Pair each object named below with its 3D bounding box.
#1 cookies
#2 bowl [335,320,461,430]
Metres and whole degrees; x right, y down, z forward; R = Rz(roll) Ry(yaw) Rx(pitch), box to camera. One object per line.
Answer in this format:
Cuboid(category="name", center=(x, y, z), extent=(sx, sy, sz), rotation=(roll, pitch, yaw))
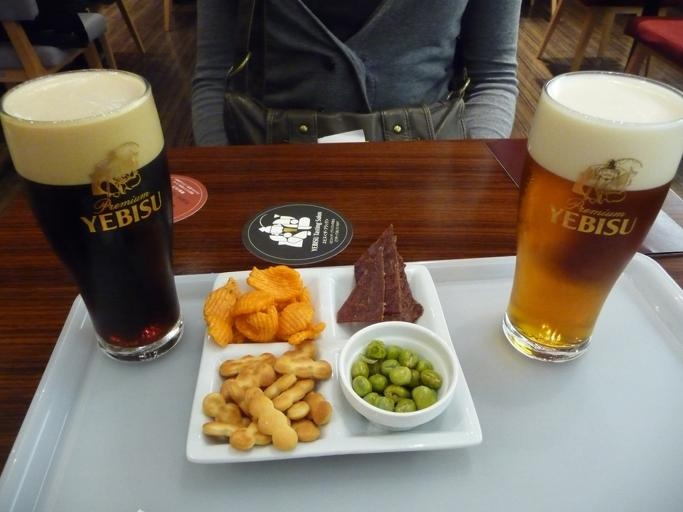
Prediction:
Cuboid(category="cookies", center=(-0.119, 0.229, 0.842), extent=(0.215, 0.058, 0.200), rotation=(-6, 47, -6))
Cuboid(category="bowl", center=(0.093, 0.188, 0.868), extent=(0.175, 0.080, 0.173), rotation=(-1, 40, 1))
